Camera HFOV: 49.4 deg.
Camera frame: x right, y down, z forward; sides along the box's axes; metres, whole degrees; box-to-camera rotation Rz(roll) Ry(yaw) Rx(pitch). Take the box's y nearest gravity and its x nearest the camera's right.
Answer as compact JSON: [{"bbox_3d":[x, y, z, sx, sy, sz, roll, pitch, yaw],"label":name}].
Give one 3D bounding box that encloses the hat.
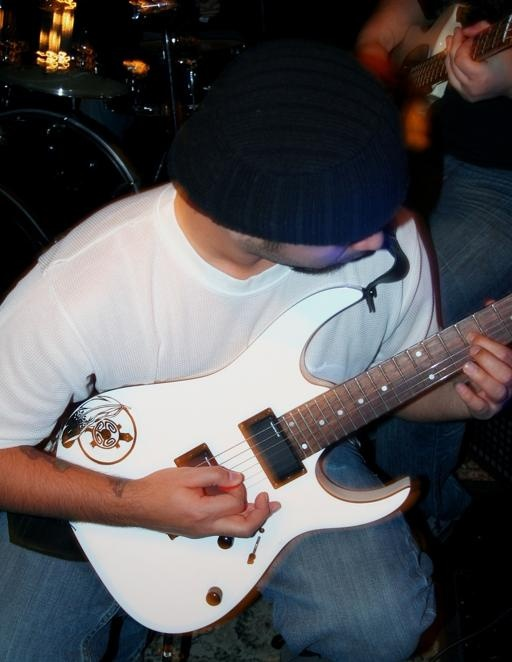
[{"bbox_3d":[0.052,-0.283,0.851,0.349,0.232,0.222,5,47,11],"label":"hat"}]
